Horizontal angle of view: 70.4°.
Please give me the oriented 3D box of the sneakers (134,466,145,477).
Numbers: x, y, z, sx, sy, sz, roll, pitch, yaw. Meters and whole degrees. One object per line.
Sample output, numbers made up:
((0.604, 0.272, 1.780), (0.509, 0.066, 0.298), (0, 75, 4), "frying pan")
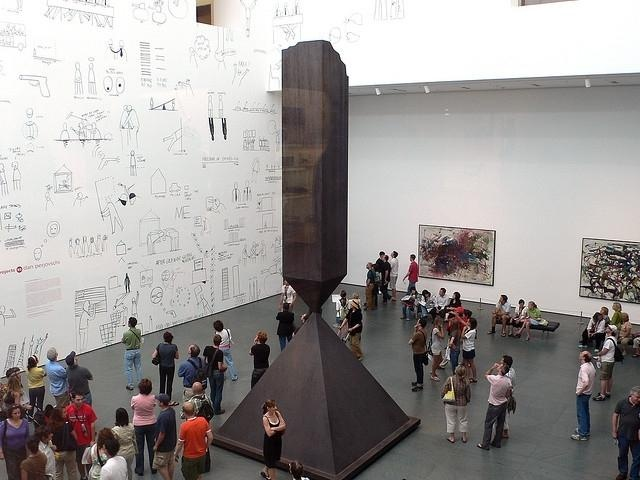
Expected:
((-2.688, 3.453, 6.823), (0.135, 0.147, 0.072), (1, 3, 18), "sneakers")

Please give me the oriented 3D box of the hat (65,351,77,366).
((-4.184, 1.981, 7.650), (0.128, 0.232, 0.313), (-4, 10, -28), "hat")

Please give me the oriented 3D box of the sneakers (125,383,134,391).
((-3.946, 3.014, 9.425), (0.163, 0.122, 0.087), (20, 15, 41), "sneakers")

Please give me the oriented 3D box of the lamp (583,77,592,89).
((7.187, -4.252, 12.198), (0.234, 0.319, 0.070), (-2, 7, -16), "lamp")

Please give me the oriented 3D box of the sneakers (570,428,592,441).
((4.515, 3.343, 7.794), (0.353, 0.185, 0.149), (10, 9, 19), "sneakers")

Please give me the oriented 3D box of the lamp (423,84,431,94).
((3.367, -4.778, 14.236), (0.212, 0.321, 0.304), (-7, 5, 2), "lamp")

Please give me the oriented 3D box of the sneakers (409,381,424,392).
((2.015, 3.051, 9.507), (0.222, 0.098, 0.144), (1, -3, -13), "sneakers")

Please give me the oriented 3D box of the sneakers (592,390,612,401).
((5.692, 3.113, 9.193), (0.440, 0.209, 0.157), (2, 1, -15), "sneakers")

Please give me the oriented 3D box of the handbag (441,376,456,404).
((2.149, 2.484, 7.512), (0.202, 0.478, 0.066), (5, 9, 29), "handbag")

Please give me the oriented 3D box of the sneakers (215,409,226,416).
((-1.871, 3.216, 8.586), (0.183, 0.135, 0.072), (-13, 28, -31), "sneakers")

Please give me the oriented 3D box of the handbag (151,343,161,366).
((-3.140, 2.167, 8.712), (0.133, 0.452, 0.435), (-3, 9, -21), "handbag")

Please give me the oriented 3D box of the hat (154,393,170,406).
((-2.123, 2.159, 6.171), (0.145, 0.155, 0.123), (-5, 10, -31), "hat")

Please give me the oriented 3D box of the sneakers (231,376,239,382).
((-1.857, 3.002, 9.904), (0.117, 0.128, 0.076), (5, 4, 0), "sneakers")

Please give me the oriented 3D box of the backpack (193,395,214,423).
((-1.654, 2.371, 6.483), (0.176, 0.456, 0.308), (7, 11, 39), "backpack")
